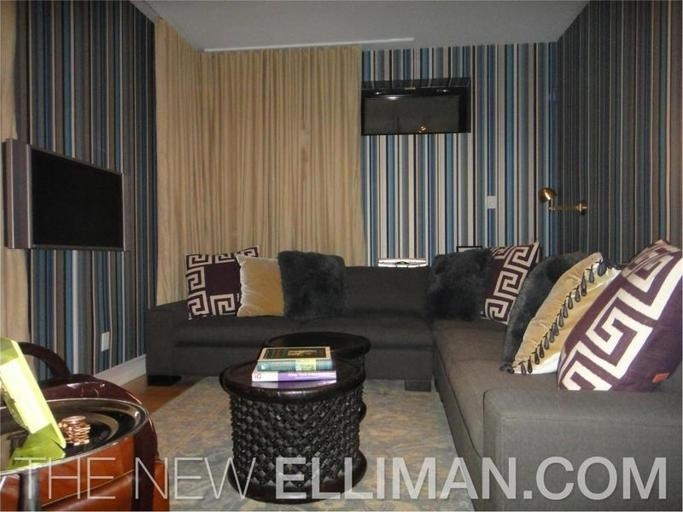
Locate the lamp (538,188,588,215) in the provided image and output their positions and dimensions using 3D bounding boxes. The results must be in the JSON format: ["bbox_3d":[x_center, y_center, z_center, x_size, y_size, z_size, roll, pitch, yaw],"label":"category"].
[{"bbox_3d":[1.693,-0.401,4.835,0.319,0.136,0.166,2,5,9],"label":"lamp"}]

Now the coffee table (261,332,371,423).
[{"bbox_3d":[-0.077,0.646,3.623,0.492,0.303,0.494,0,6,1],"label":"coffee table"}]

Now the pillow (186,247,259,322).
[{"bbox_3d":[-0.876,0.205,4.445,0.427,0.417,0.125,-6,-15,-3],"label":"pillow"}]

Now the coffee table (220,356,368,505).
[{"bbox_3d":[-0.214,0.791,2.922,0.601,0.442,0.606,0,-2,-2],"label":"coffee table"}]
